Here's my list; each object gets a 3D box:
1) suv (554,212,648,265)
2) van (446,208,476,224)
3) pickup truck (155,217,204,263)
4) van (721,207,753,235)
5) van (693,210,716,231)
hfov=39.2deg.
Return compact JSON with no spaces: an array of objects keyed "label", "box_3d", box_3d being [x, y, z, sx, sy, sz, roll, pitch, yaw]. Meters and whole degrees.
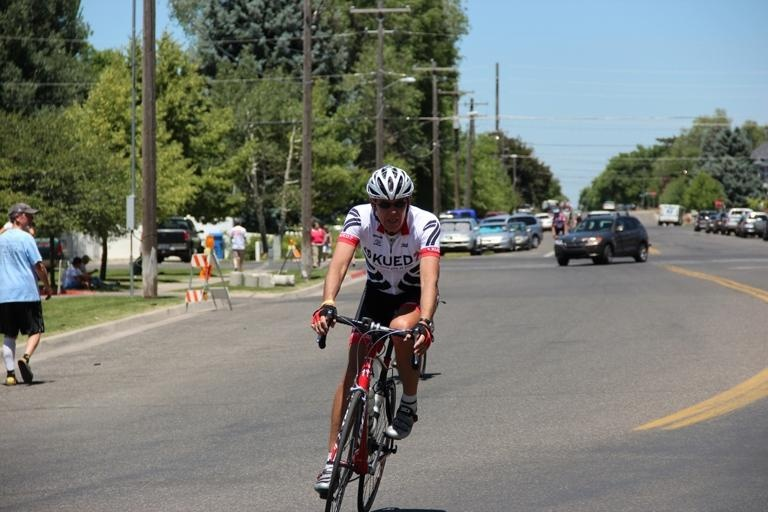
[{"label":"suv","box_3d":[7.771,-0.558,38.933,3.395,1.713,1.741,-5,5,-35]},{"label":"van","box_3d":[4.411,-2.344,61.009,1.269,1.159,1.938,-1,-5,4]},{"label":"pickup truck","box_3d":[-9.281,-0.655,48.183,1.827,1.891,4.524,-1,3,3]},{"label":"van","box_3d":[24.045,-2.351,74.167,1.312,1.297,2.518,-2,7,4]},{"label":"van","box_3d":[24.936,-2.649,84.158,0.990,0.989,1.911,-1,8,6]}]
